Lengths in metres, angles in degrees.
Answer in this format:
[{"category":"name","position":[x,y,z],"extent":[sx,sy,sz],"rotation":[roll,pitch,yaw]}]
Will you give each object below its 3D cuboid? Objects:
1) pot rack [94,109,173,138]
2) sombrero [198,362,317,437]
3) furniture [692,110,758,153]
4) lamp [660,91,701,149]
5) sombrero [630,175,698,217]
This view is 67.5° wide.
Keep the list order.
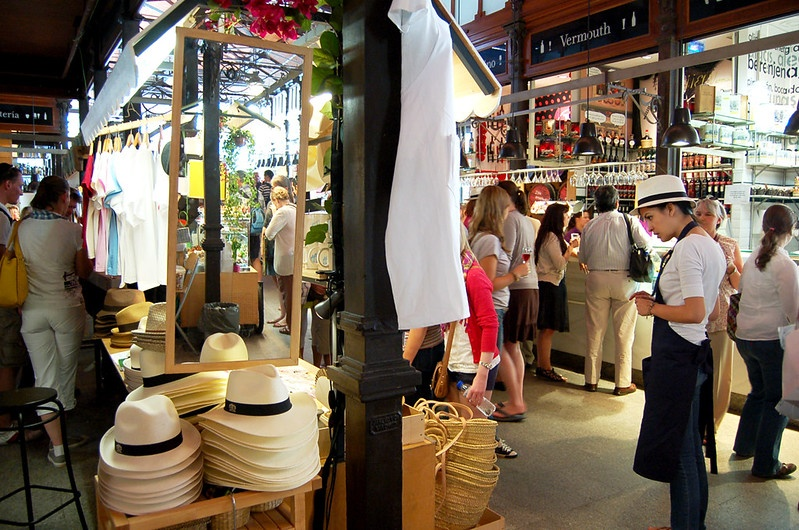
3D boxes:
[{"category":"pot rack","position":[-2.137,-1.149,4.830],"extent":[0.131,0.183,1.374],"rotation":[-11,18,-38]},{"category":"sombrero","position":[-0.851,0.756,3.555],"extent":[0.742,0.348,0.672],"rotation":[0,1,41]},{"category":"furniture","position":[4.309,-1.781,7.963],"extent":[1.077,0.456,0.470],"rotation":[-6,15,-21]},{"category":"lamp","position":[3.121,-1.524,6.672],"extent":[0.400,0.487,0.421],"rotation":[6,-5,-17]},{"category":"sombrero","position":[1.902,-0.528,4.393],"extent":[0.426,0.229,0.385],"rotation":[-7,-5,27]}]
